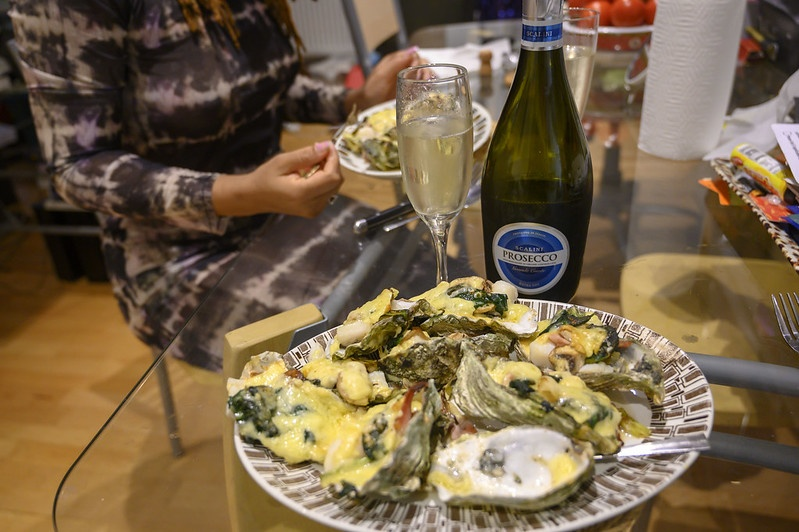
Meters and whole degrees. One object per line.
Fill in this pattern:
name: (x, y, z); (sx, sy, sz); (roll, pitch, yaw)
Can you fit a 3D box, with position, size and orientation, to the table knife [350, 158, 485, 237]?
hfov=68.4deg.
table knife: (0.039, -0.122, 1.089); (0.347, 0.056, 0.079); (-20, 74, -16)
